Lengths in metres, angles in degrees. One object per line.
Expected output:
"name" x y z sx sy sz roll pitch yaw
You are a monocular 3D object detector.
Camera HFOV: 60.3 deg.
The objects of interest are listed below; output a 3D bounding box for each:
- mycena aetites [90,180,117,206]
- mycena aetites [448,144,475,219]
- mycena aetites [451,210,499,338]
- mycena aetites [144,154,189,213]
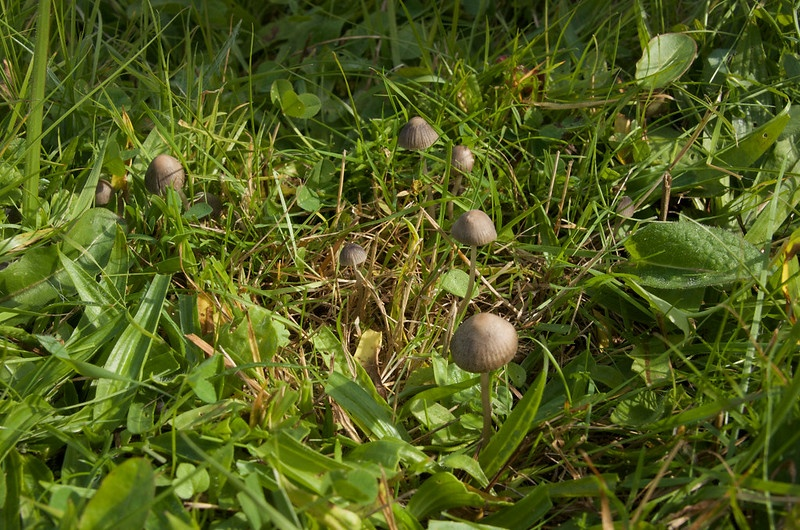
"mycena aetites" -1.291 -0.317 2.998 0.092 0.122 0.094 7 7 36
"mycena aetites" 0.281 -0.395 3.189 0.097 0.305 0.276 4 52 6
"mycena aetites" 0.294 0.047 2.755 0.164 0.494 0.195 7 49 3
"mycena aetites" -1.014 -0.349 2.989 0.130 0.273 0.145 22 61 6
